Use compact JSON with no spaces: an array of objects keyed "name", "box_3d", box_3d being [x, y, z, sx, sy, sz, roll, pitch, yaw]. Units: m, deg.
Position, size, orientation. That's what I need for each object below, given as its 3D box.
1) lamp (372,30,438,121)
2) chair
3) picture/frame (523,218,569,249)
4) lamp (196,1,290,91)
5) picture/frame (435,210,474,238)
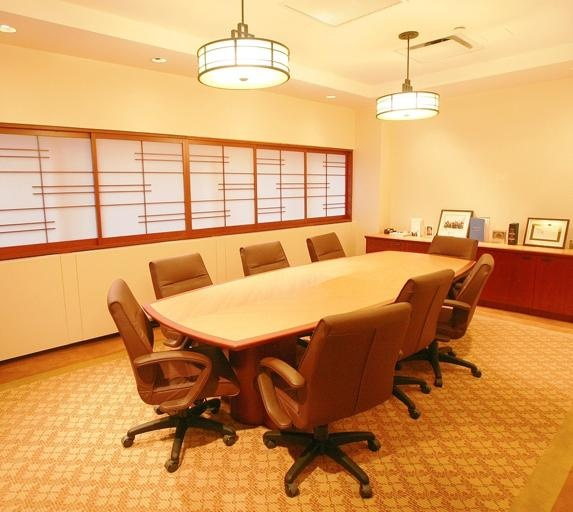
[{"name":"lamp","box_3d":[1.061,-1.593,3.949,0.565,0.527,0.502,-15,30,-15]},{"name":"chair","box_3d":[0.068,0.800,3.052,1.521,0.885,2.449,16,23,41]},{"name":"picture/frame","box_3d":[3.071,-0.260,5.361,0.034,0.326,0.447,20,-11,-42]},{"name":"lamp","box_3d":[-0.294,-1.437,2.941,0.574,0.556,0.567,-4,12,-8]},{"name":"picture/frame","box_3d":[2.288,-0.441,6.169,0.041,0.399,0.491,6,9,-41]}]
